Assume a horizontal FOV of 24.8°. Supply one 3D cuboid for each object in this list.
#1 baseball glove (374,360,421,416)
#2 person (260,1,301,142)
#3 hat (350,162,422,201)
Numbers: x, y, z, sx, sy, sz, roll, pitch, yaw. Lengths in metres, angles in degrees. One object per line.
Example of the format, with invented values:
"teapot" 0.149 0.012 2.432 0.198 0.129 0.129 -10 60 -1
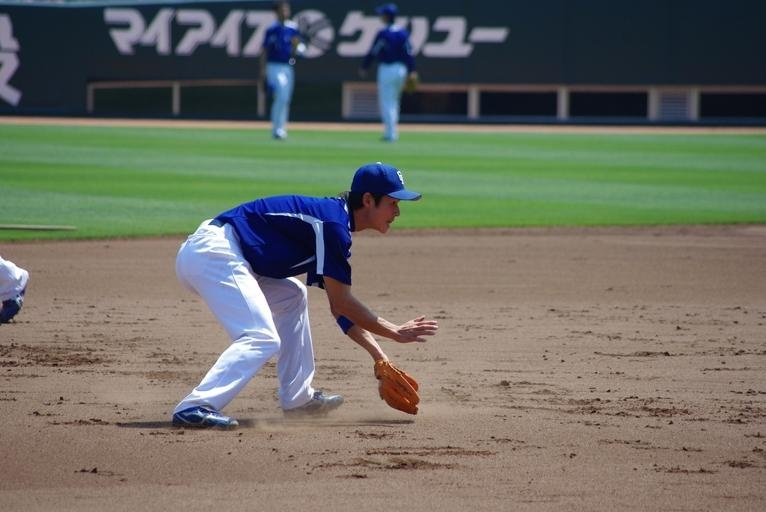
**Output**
"baseball glove" 0.130 1.619 21.248 0.704 0.505 0.200 42 14 0
"person" -1.751 -3.221 29.778 0.637 2.239 1.141 1 4 -5
"hat" 0.039 -0.904 21.291 0.772 0.325 0.435 1 3 4
